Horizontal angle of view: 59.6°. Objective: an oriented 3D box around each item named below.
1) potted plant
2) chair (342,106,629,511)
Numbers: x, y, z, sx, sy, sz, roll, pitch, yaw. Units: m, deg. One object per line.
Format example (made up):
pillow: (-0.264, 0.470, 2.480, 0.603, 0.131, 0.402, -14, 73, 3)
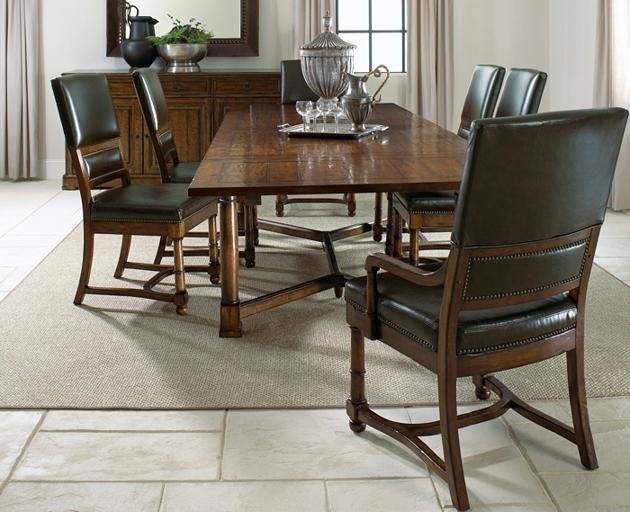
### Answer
potted plant: (-1.294, -2.080, 5.336, 0.592, 0.545, 0.536, -3, 22, -6)
chair: (0.458, 0.114, 1.534, 0.544, 1.032, 0.560, -11, 25, -24)
